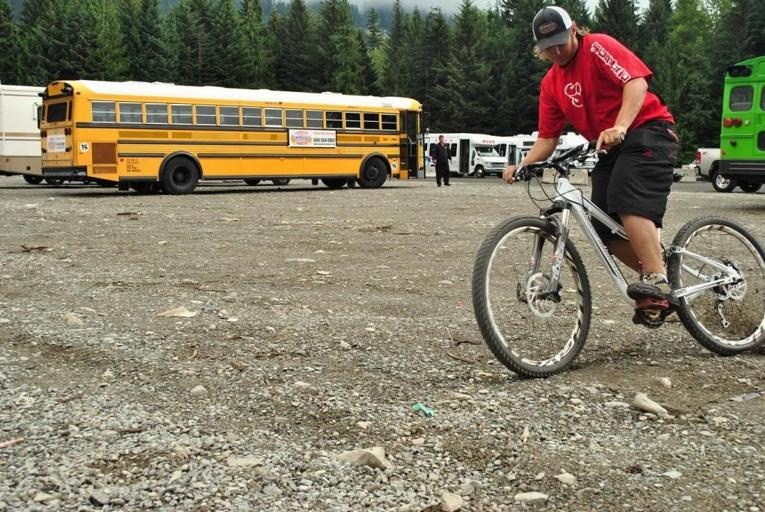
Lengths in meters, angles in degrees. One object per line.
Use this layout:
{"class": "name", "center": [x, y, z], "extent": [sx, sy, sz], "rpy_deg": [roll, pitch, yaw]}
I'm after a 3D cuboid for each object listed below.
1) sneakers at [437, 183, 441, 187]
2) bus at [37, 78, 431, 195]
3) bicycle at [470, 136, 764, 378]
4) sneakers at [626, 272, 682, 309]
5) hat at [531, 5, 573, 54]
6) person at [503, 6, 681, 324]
{"class": "sneakers", "center": [2.637, -3.321, 29.786], "extent": [0.182, 0.144, 0.180], "rpy_deg": [-5, -5, 34]}
{"class": "bus", "center": [-4.381, -4.189, 25.197], "extent": [15.665, 3.639, 4.906], "rpy_deg": [-4, 9, -33]}
{"class": "bicycle", "center": [1.948, 0.178, 5.102], "extent": [3.003, 1.398, 1.322], "rpy_deg": [-2, -8, -24]}
{"class": "sneakers", "center": [2.036, 0.236, 4.768], "extent": [0.410, 0.197, 0.212], "rpy_deg": [-4, 4, -43]}
{"class": "hat", "center": [1.240, -1.675, 4.629], "extent": [0.278, 0.343, 0.311], "rpy_deg": [4, 14, 13]}
{"class": "person", "center": [1.674, -0.606, 4.795], "extent": [1.206, 2.548, 0.874], "rpy_deg": [3, 14, 10]}
